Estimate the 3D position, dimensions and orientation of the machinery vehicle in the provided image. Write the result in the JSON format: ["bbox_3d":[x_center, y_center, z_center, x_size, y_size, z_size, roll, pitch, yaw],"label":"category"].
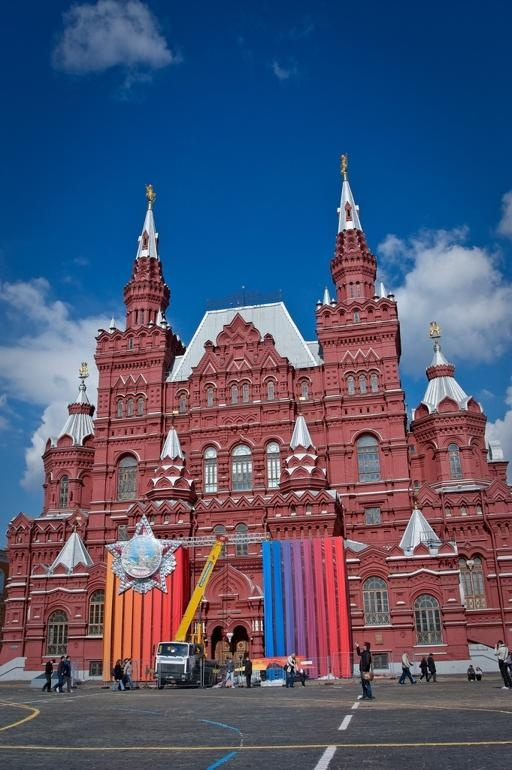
[{"bbox_3d":[-3.383,12.502,38.352,2.745,9.338,5.715,-11,-44,16],"label":"machinery vehicle"}]
